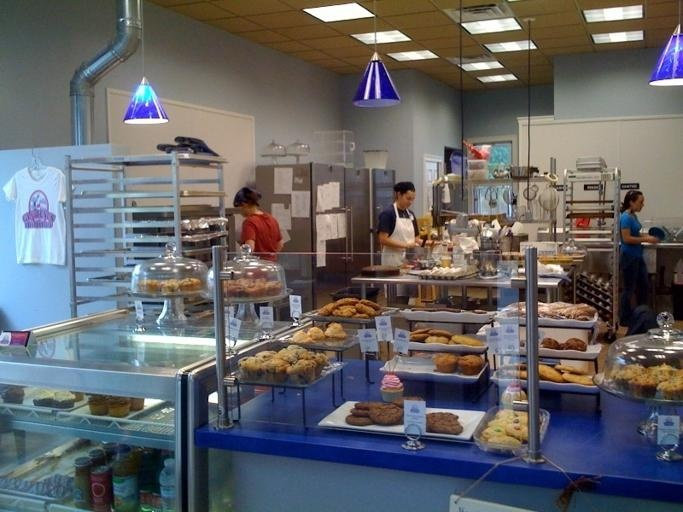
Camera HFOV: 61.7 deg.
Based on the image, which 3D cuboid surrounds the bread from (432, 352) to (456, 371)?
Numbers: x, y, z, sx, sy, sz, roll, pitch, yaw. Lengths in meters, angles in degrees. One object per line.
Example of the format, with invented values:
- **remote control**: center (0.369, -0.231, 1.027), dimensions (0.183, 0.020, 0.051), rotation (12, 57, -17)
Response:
- **bread**: center (0.381, 0.382, 2.097), dimensions (0.065, 0.046, 0.061), rotation (-1, 1, 16)

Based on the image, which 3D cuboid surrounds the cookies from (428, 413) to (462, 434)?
- **cookies**: center (0.354, 0.566, 1.958), dimensions (0.122, 0.048, 0.091), rotation (0, 5, 11)

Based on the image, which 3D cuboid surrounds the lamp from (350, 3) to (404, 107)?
- **lamp**: center (0.245, -1.275, 4.083), dimensions (0.317, 0.411, 0.428), rotation (-1, 4, 4)

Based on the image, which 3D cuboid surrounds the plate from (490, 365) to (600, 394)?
- **plate**: center (0.707, 0.434, 2.005), dimensions (0.255, 0.038, 0.181), rotation (1, 5, 23)

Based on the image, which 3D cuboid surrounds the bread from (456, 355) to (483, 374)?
- **bread**: center (0.461, 0.386, 2.037), dimensions (0.065, 0.037, 0.070), rotation (0, -2, -1)

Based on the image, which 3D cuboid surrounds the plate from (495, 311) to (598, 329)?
- **plate**: center (0.765, 0.236, 2.131), dimensions (0.219, 0.031, 0.136), rotation (1, 4, 22)

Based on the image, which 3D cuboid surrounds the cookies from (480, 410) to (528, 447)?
- **cookies**: center (0.531, 0.553, 1.874), dimensions (0.144, 0.111, 0.087), rotation (0, 4, 12)

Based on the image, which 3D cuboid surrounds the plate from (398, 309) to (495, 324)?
- **plate**: center (0.409, 0.229, 2.167), dimensions (0.191, 0.029, 0.121), rotation (1, 1, 18)

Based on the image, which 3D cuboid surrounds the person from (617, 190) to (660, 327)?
- **person**: center (3.219, 0.033, 6.294), dimensions (0.293, 1.495, 0.406), rotation (1, 5, 26)
